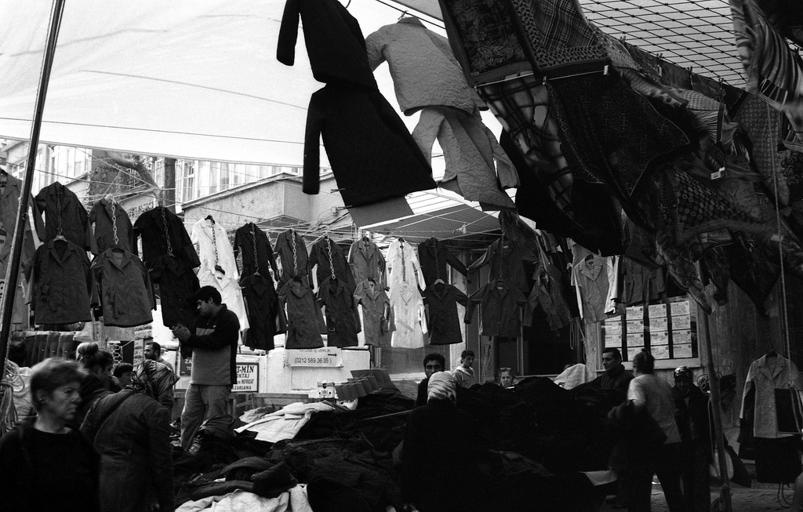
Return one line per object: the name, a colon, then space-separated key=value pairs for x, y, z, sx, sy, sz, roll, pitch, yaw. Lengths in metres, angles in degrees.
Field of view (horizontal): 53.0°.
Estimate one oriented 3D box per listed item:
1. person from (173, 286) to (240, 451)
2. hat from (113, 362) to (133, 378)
person: x=-2.087 y=1.231 z=8.709 sx=0.647 sy=1.744 sz=0.704 roll=0 pitch=-11 yaw=-15
hat: x=-3.150 y=1.307 z=9.102 sx=0.193 sy=0.177 sz=0.173 roll=6 pitch=-6 yaw=16
